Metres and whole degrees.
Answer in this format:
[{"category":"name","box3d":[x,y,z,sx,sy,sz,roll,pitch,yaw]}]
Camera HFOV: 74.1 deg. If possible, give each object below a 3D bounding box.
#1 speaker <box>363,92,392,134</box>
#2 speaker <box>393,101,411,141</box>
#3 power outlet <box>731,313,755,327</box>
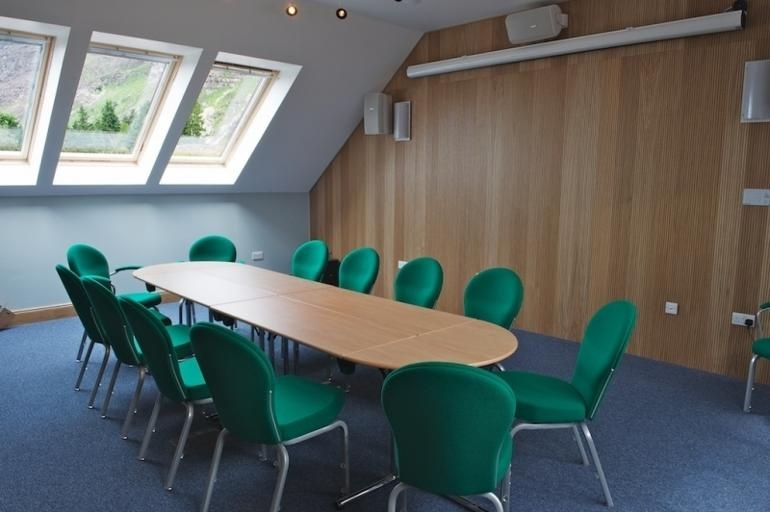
[{"category":"speaker","box3d":[-0.096,-2.086,7.538,0.395,0.595,0.411,-4,8,-33]},{"category":"speaker","box3d":[0.202,-1.997,7.367,0.291,0.479,0.182,-20,23,-41]},{"category":"power outlet","box3d":[3.593,0.633,5.120,0.218,0.148,0.119,6,10,42]}]
